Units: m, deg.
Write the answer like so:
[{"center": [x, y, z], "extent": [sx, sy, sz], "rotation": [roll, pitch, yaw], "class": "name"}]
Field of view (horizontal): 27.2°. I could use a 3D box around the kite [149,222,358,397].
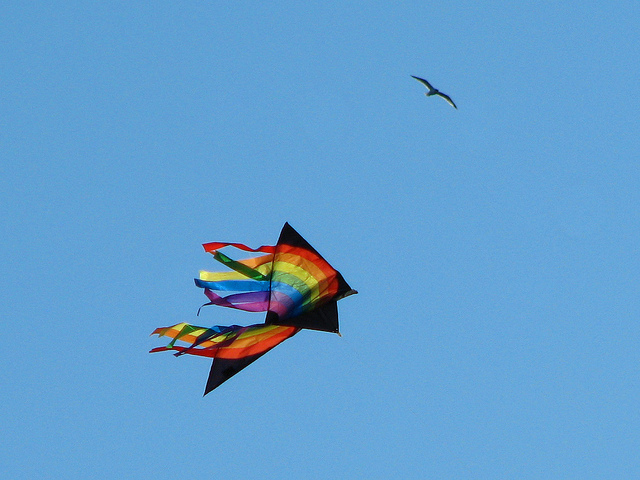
[{"center": [-0.990, 1.062, 22.142], "extent": [2.756, 1.960, 1.445], "rotation": [-14, -48, 6], "class": "kite"}]
